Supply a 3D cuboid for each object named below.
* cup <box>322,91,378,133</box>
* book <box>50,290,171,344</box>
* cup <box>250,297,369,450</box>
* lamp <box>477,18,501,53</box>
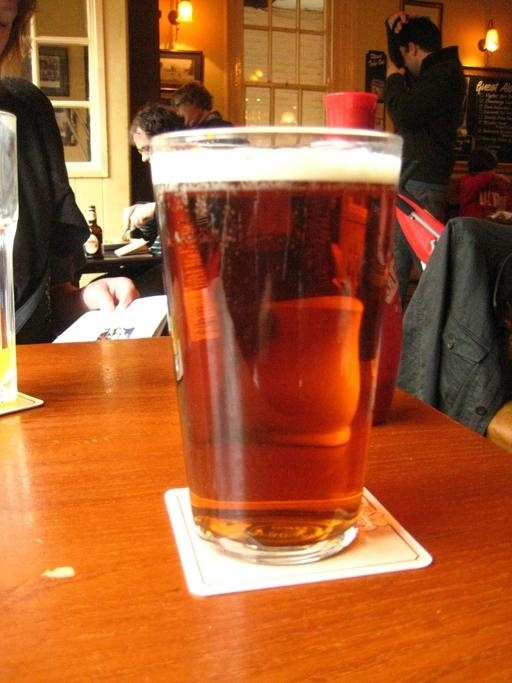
[{"bbox_3d":[0.063,-0.154,0.381,0.040,0.027,0.031,-1,8,-10],"label":"cup"},{"bbox_3d":[-0.324,-0.042,1.294,0.208,0.051,0.215,-4,20,10],"label":"book"},{"bbox_3d":[0.023,0.012,0.245,0.060,0.069,0.057,0,0,0],"label":"cup"},{"bbox_3d":[2.772,-3.605,6.758,0.218,0.314,0.376,4,9,25],"label":"lamp"}]
